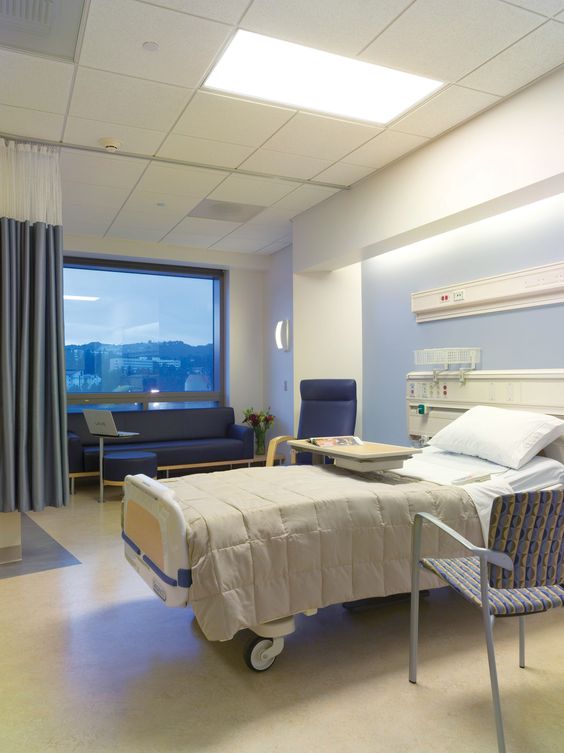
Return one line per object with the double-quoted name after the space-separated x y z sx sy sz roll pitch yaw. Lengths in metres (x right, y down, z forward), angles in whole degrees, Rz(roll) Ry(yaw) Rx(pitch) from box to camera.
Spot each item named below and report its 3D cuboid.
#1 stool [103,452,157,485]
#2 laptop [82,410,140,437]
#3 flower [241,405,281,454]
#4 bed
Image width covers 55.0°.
-1.387 0.796 5.059 0.557 0.332 0.582 0 -2 5 "stool"
-1.566 0.345 5.005 0.342 0.229 0.310 -2 -1 31 "laptop"
-0.246 0.630 6.689 0.477 0.631 0.453 0 -2 7 "flower"
0.151 0.573 2.128 1.265 0.497 0.798 3 -4 -29 "bed"
